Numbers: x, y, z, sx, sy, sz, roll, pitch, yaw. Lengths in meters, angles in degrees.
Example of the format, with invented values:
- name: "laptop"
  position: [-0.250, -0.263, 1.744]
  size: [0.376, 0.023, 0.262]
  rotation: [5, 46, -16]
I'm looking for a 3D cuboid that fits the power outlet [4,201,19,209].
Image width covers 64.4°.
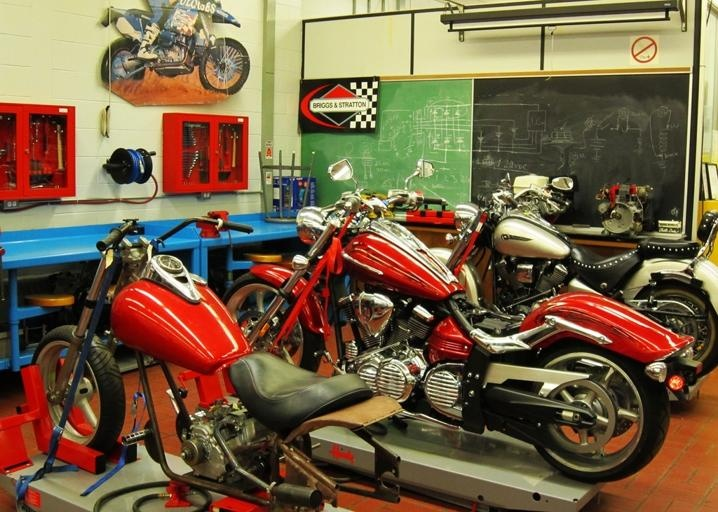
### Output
- name: "power outlet"
  position: [-2.844, -0.417, 4.644]
  size: [0.112, 0.064, 0.086]
  rotation: [-9, 14, -43]

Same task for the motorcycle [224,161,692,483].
- name: "motorcycle"
  position: [0.373, 0.261, 3.401]
  size: [2.807, 1.514, 1.260]
  rotation: [7, 8, 35]

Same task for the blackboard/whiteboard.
- name: "blackboard/whiteboard"
  position: [1.278, -1.170, 5.864]
  size: [4.181, 1.450, 0.031]
  rotation: [3, -6, 6]

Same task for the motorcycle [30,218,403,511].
- name: "motorcycle"
  position: [-0.608, 0.441, 2.909]
  size: [2.303, 1.197, 0.911]
  rotation: [14, 16, 35]

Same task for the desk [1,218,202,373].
- name: "desk"
  position: [-1.655, 0.261, 3.487]
  size: [0.487, 0.775, 1.282]
  rotation: [7, 10, 41]

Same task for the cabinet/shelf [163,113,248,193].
- name: "cabinet/shelf"
  position: [-1.622, -1.078, 6.031]
  size: [0.248, 0.786, 0.968]
  rotation: [12, 15, 34]

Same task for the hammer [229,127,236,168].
- name: "hammer"
  position: [-1.350, -1.156, 6.123]
  size: [0.087, 0.334, 0.015]
  rotation: [-4, 9, -26]

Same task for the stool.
- name: "stool"
  position: [-0.901, -0.849, 6.829]
  size: [0.804, 0.864, 0.805]
  rotation: [3, 8, 21]
